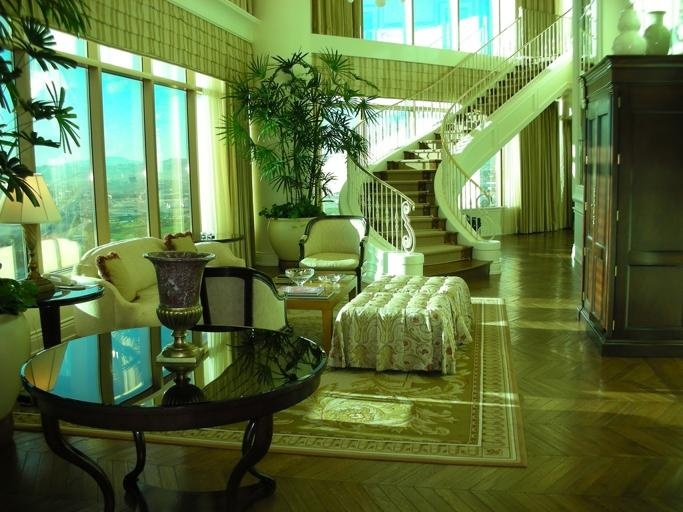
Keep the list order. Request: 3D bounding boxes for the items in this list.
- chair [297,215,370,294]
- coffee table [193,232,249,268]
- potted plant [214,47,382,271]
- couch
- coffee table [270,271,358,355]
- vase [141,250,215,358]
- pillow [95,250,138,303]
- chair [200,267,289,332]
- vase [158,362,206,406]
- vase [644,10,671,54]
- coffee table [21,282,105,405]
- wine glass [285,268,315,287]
[{"bbox_3d":[-0.078,-0.017,6.994,0.877,1.146,0.892,2,8,11],"label":"chair"},{"bbox_3d":[-1.281,-0.080,6.067,0.407,0.441,0.428,0,13,1],"label":"coffee table"},{"bbox_3d":[-0.684,-1.747,9.128,2.770,3.014,2.452,-1,6,-6],"label":"potted plant"},{"bbox_3d":[-1.329,0.235,4.023,0.441,0.423,0.892,6,15,18],"label":"couch"},{"bbox_3d":[-0.183,0.405,4.955,0.542,0.297,0.821,2,11,13],"label":"coffee table"},{"bbox_3d":[-0.749,0.249,2.716,0.351,0.457,0.330,0,-3,9],"label":"vase"},{"bbox_3d":[-1.774,0.152,4.556,0.115,0.374,0.376,-23,13,11],"label":"pillow"},{"bbox_3d":[-0.651,0.254,4.256,0.449,0.592,0.525,5,10,25],"label":"chair"},{"bbox_3d":[-0.688,0.564,2.492,0.196,0.212,0.187,-1,1,-24],"label":"vase"},{"bbox_3d":[2.542,-1.805,4.620,0.198,0.376,0.171,8,8,25],"label":"vase"},{"bbox_3d":[-1.967,0.508,4.020,0.491,0.528,0.471,1,8,-2],"label":"coffee table"},{"bbox_3d":[-0.379,0.195,5.401,0.185,0.112,0.187,1,4,12],"label":"wine glass"}]
